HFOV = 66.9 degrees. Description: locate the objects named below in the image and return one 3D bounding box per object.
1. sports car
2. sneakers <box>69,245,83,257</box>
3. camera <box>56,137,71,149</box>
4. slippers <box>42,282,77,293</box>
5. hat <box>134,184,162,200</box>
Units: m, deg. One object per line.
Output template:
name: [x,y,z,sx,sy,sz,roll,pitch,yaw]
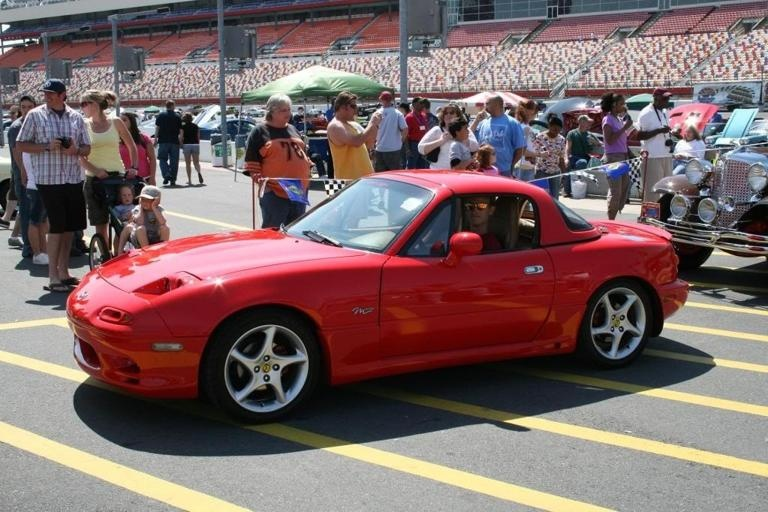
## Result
sports car: [0.039,0.249,4.897,4.793,1.762,0.884,-4,16,-21]
sneakers: [-5.004,-0.092,9.530,0.219,0.204,0.551,0,-2,-24]
camera: [-3.898,-1.408,7.147,0.210,0.124,0.115,6,23,3]
slippers: [-4.305,0.397,7.678,0.594,0.121,0.224,2,10,30]
hat: [-2.746,-0.770,6.914,0.236,0.122,0.282,3,4,5]
